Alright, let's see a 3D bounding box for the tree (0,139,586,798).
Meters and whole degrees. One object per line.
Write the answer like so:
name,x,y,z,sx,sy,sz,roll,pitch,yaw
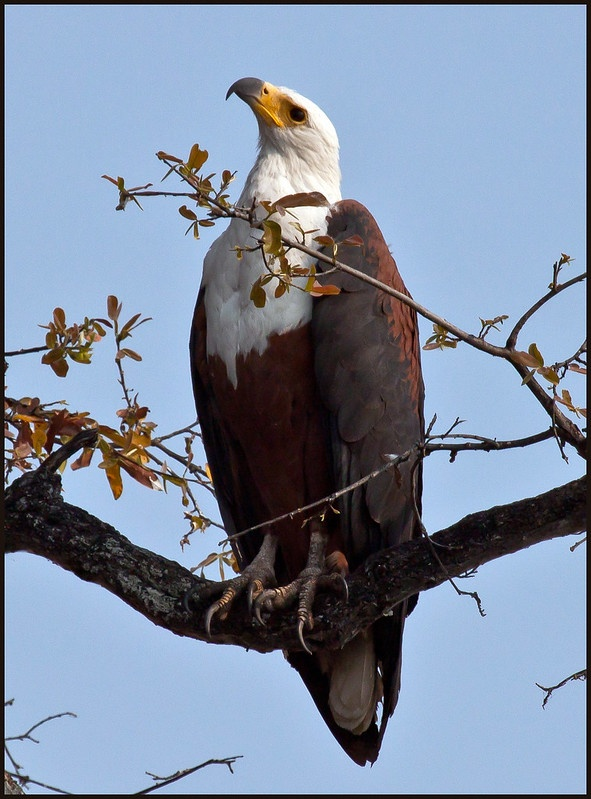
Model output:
tree,0.054,0.405,5.809,1.442,0.985,2.138,-3,-73,11
